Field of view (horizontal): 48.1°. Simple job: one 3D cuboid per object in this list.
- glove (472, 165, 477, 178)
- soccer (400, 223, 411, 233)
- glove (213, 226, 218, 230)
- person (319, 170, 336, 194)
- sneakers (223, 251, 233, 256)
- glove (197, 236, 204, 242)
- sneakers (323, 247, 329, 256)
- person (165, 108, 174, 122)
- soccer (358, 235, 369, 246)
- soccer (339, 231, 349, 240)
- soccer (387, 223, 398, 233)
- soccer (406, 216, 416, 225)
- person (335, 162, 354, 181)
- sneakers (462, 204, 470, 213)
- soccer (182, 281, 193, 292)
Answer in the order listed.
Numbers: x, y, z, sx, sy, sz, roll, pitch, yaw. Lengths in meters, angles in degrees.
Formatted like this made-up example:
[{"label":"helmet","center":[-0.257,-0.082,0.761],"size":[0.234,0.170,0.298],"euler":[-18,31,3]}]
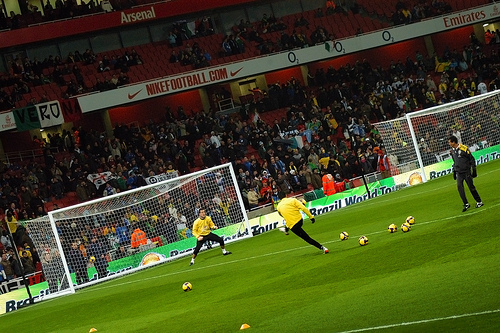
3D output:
[{"label":"glove","center":[8.541,0.215,21.332],"size":[0.158,0.543,0.358],"euler":[-1,-2,-7]},{"label":"soccer","center":[5.527,2.164,19.931],"size":[0.279,0.305,0.308],"euler":[11,55,26]},{"label":"glove","center":[-1.462,2.575,23.519],"size":[0.159,0.088,0.226],"euler":[6,-5,-13]},{"label":"person","center":[3.973,0.886,28.205],"size":[1.178,1.099,0.345],"euler":[-17,5,-39]},{"label":"sneakers","center":[-0.984,3.698,23.911],"size":[0.301,0.134,0.165],"euler":[-15,4,16]},{"label":"glove","center":[-2.063,3.004,23.254],"size":[0.208,0.199,0.160],"euler":[-45,-23,29]},{"label":"sneakers","center":[2.690,2.955,19.835],"size":[0.203,0.246,0.318],"euler":[-16,-1,4]},{"label":"person","center":[-5.022,-3.184,34.855],"size":[0.424,0.884,0.659],"euler":[-15,-1,-13]},{"label":"soccer","center":[3.980,2.609,19.714],"size":[0.288,0.332,0.305],"euler":[-3,2,24]},{"label":"soccer","center":[3.528,2.589,21.064],"size":[0.355,0.320,0.567],"euler":[-17,-1,6]},{"label":"soccer","center":[5.151,2.230,20.304],"size":[0.277,0.313,0.288],"euler":[-3,0,31]},{"label":"soccer","center":[5.814,1.944,20.292],"size":[0.295,0.339,0.315],"euler":[4,5,27]},{"label":"person","center":[4.964,0.281,29.452],"size":[0.596,1.729,0.465],"euler":[-13,9,-36]},{"label":"sneakers","center":[7.857,1.477,20.424],"size":[0.281,0.304,0.472],"euler":[-17,-1,22]},{"label":"soccer","center":[-2.270,4.280,20.043],"size":[0.352,0.304,0.393],"euler":[-17,-1,-7]}]
